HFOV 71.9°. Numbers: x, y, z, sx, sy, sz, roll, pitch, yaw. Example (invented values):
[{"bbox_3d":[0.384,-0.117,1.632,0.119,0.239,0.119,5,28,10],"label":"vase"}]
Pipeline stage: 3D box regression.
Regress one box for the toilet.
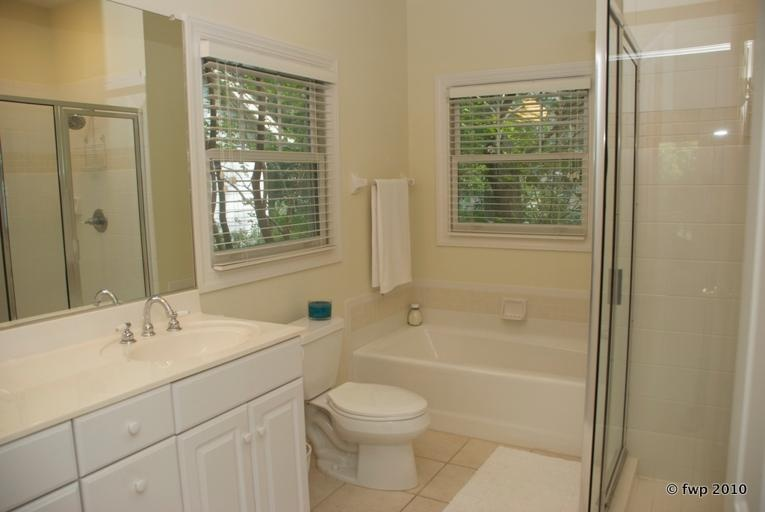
[{"bbox_3d":[-0.122,0.883,3.226,0.856,0.876,0.510,2,7,24],"label":"toilet"}]
